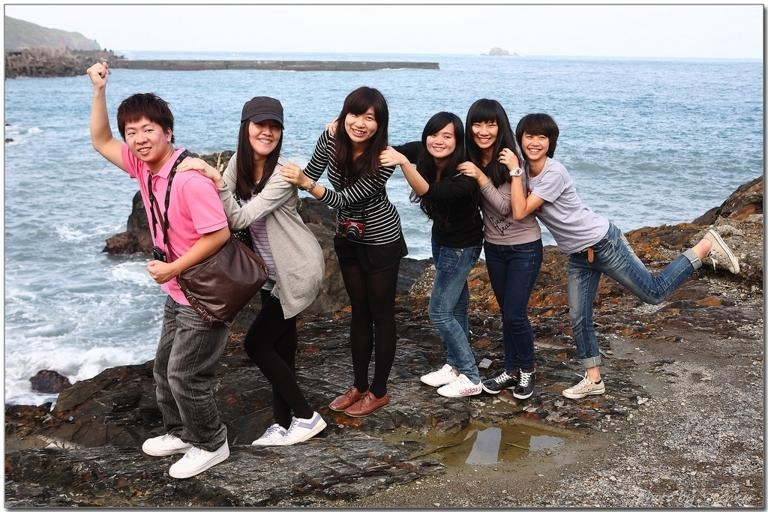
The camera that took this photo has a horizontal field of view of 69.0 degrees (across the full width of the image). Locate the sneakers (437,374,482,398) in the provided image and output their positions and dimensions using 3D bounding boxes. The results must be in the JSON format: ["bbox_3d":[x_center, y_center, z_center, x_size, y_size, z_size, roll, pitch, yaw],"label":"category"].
[{"bbox_3d":[0.757,1.360,5.869,0.556,0.190,0.183,0,6,-7],"label":"sneakers"}]

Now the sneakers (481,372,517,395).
[{"bbox_3d":[1.208,1.360,6.023,0.490,0.148,0.189,-9,-14,-22],"label":"sneakers"}]

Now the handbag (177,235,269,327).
[{"bbox_3d":[-1.347,0.207,4.727,0.838,0.619,0.307,-43,20,-23],"label":"handbag"}]

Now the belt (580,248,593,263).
[{"bbox_3d":[2.018,-0.011,5.620,0.055,0.131,0.149,-7,0,-22],"label":"belt"}]

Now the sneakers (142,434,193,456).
[{"bbox_3d":[-1.959,1.718,5.134,0.544,0.171,0.178,2,14,-4],"label":"sneakers"}]

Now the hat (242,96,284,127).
[{"bbox_3d":[-1.094,-1.285,4.981,0.303,0.168,0.375,3,5,-24],"label":"hat"}]

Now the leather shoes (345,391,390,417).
[{"bbox_3d":[-0.191,1.479,5.654,0.489,0.163,0.167,-21,38,-17],"label":"leather shoes"}]

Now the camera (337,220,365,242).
[{"bbox_3d":[-0.348,-0.251,5.336,0.305,0.179,0.142,15,25,37],"label":"camera"}]

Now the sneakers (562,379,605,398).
[{"bbox_3d":[2.065,1.392,5.961,0.511,0.159,0.169,-3,12,-5],"label":"sneakers"}]

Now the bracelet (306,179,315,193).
[{"bbox_3d":[-0.663,-0.633,5.038,0.038,0.091,0.089,23,25,-25],"label":"bracelet"}]
